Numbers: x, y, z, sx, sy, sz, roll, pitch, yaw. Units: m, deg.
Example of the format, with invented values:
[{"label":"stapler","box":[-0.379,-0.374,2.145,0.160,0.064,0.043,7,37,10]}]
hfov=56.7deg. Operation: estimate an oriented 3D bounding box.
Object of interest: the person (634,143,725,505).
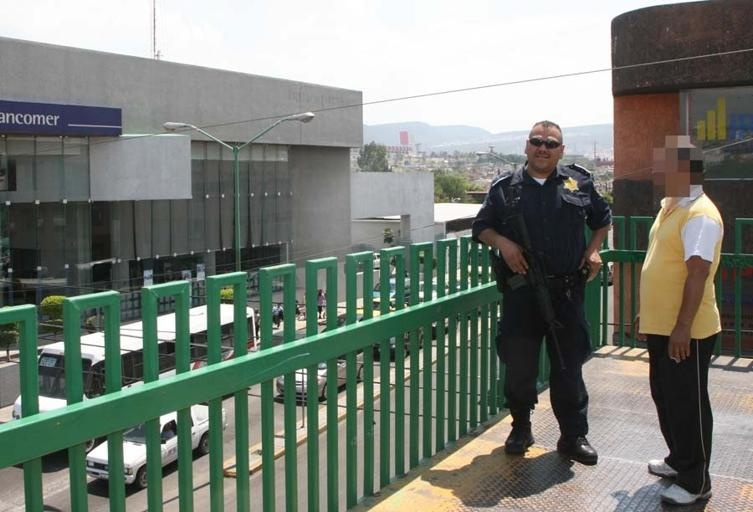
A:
[{"label":"person","box":[2.135,0.434,4.897,0.426,2.507,0.639,-3,11,-22]}]

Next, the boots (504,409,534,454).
[{"label":"boots","box":[1.132,1.374,5.547,0.164,0.351,0.376,-2,10,34]}]

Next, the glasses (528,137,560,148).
[{"label":"glasses","box":[1.252,-0.845,5.220,0.223,0.078,0.053,4,11,10]}]

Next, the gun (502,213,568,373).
[{"label":"gun","box":[1.225,0.271,5.270,0.453,1.166,0.247,8,12,31]}]

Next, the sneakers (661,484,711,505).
[{"label":"sneakers","box":[2.176,1.665,4.902,0.356,0.148,0.130,5,-14,-1]}]
